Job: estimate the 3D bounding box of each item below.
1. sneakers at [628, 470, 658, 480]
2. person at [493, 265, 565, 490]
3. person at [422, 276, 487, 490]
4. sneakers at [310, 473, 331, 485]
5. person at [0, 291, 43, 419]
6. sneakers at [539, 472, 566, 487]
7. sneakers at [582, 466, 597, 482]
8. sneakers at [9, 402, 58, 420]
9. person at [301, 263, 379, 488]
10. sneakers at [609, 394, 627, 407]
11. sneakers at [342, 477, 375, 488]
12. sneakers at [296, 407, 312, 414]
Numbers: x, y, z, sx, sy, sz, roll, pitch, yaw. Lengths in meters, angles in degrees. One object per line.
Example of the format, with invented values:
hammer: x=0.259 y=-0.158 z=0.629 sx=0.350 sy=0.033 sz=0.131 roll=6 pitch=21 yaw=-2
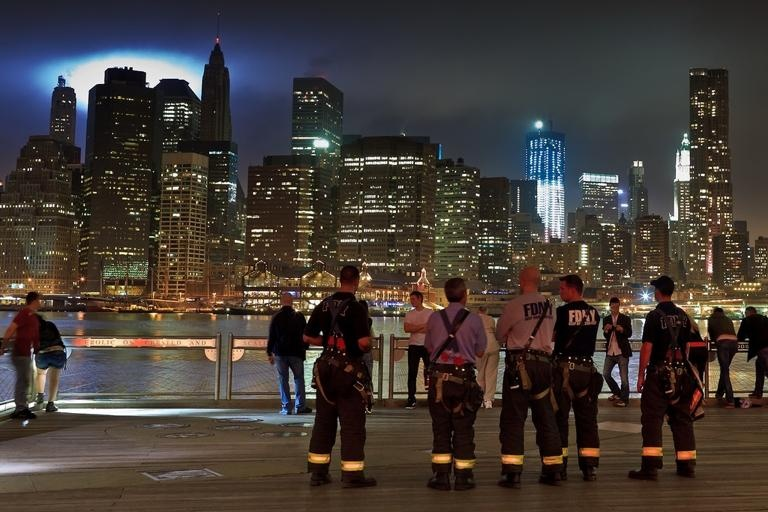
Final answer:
sneakers: x=4.289 y=3.630 z=16.716 sx=0.480 sy=0.171 sz=0.178 roll=2 pitch=-1 yaw=34
person: x=2.394 y=1.974 z=16.610 sx=1.066 sy=3.548 sz=0.673 roll=0 pitch=-2 yaw=-1
person: x=1.143 y=2.082 z=16.367 sx=0.962 sy=3.372 sz=0.510 roll=0 pitch=-2 yaw=0
sneakers: x=-1.014 y=3.607 z=16.278 sx=0.149 sy=0.216 sz=0.352 roll=4 pitch=9 yaw=26
person: x=-7.338 y=2.014 z=20.276 sx=0.746 sy=2.530 sz=0.588 roll=1 pitch=-2 yaw=-33
sneakers: x=2.748 y=3.653 z=16.458 sx=0.423 sy=0.209 sz=0.214 roll=0 pitch=-1 yaw=2
sneakers: x=3.396 y=3.608 z=16.657 sx=0.238 sy=0.249 sz=0.213 roll=0 pitch=-1 yaw=5
sneakers: x=-7.156 y=3.197 z=20.350 sx=0.753 sy=0.275 sz=0.233 roll=3 pitch=-8 yaw=-9
person: x=-0.747 y=1.949 z=16.597 sx=1.163 sy=3.550 sz=0.920 roll=0 pitch=-2 yaw=-5
sneakers: x=5.408 y=3.385 z=23.249 sx=0.157 sy=0.145 sz=0.399 roll=0 pitch=-5 yaw=-31
sneakers: x=-0.394 y=3.633 z=16.242 sx=0.575 sy=0.204 sz=0.177 roll=-2 pitch=1 yaw=-13
sneakers: x=-1.765 y=3.345 z=21.661 sx=0.389 sy=0.133 sz=0.120 roll=-1 pitch=2 yaw=-11
